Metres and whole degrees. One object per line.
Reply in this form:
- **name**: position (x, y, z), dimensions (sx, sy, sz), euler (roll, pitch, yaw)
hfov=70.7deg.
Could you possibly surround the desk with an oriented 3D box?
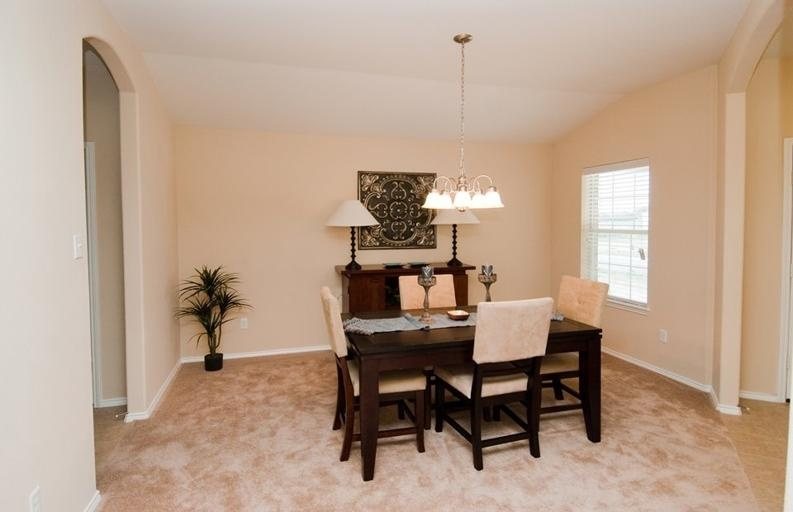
- **desk**: position (0.652, 1.228, 5.262), dimensions (2.185, 1.004, 1.215), euler (-3, 3, -17)

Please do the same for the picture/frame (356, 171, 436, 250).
- **picture/frame**: position (-0.053, -0.600, 6.997), dimensions (1.054, 0.931, 0.085), euler (0, 1, -21)

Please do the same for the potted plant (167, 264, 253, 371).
- **potted plant**: position (-2.117, 0.703, 6.494), dimensions (0.847, 1.164, 0.447), euler (-2, 4, -17)

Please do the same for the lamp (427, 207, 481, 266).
- **lamp**: position (0.734, -0.220, 7.049), dimensions (0.688, 0.800, 0.687), euler (0, -3, 10)

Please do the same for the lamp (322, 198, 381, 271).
- **lamp**: position (-0.539, -0.276, 6.732), dimensions (0.565, 0.852, 0.570), euler (-1, 4, -7)

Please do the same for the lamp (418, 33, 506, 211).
- **lamp**: position (0.694, -1.277, 6.054), dimensions (0.774, 1.632, 2.497), euler (0, 3, 7)
